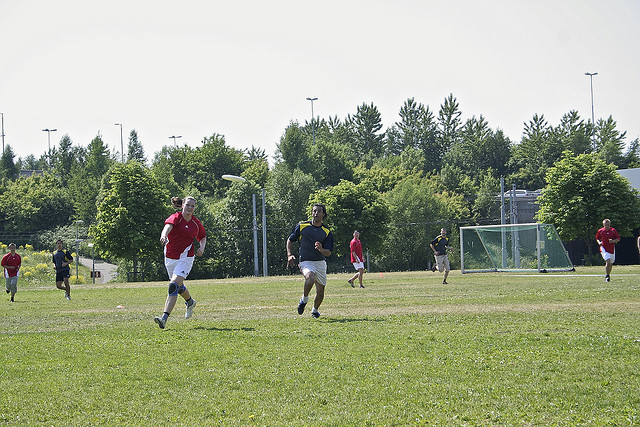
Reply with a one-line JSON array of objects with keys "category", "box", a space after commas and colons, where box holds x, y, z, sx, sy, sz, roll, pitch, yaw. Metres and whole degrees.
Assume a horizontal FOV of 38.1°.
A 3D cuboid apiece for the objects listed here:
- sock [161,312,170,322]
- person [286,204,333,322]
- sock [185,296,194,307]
[{"category": "sock", "box": [-4.944, 3.310, 29.683, 0.208, 0.235, 0.473, -2, 8, -2]}, {"category": "person", "box": [-0.263, 1.626, 30.903, 1.412, 3.879, 0.736, -2, 8, 0]}, {"category": "sock", "box": [-4.367, 3.013, 31.376, 0.187, 0.329, 0.351, 2, 9, 26]}]
